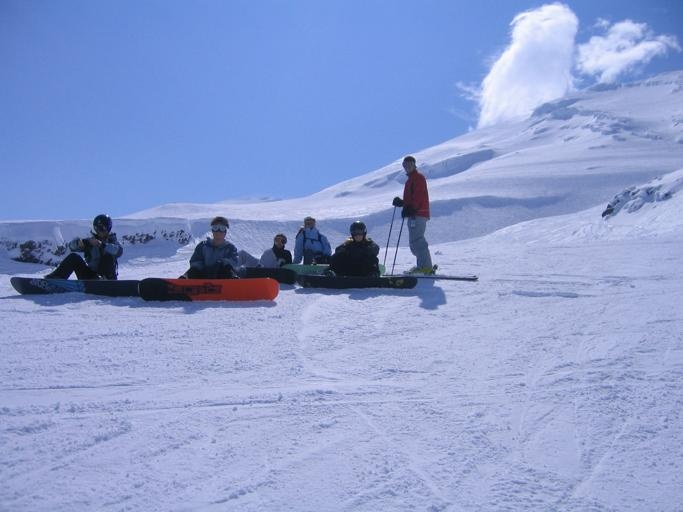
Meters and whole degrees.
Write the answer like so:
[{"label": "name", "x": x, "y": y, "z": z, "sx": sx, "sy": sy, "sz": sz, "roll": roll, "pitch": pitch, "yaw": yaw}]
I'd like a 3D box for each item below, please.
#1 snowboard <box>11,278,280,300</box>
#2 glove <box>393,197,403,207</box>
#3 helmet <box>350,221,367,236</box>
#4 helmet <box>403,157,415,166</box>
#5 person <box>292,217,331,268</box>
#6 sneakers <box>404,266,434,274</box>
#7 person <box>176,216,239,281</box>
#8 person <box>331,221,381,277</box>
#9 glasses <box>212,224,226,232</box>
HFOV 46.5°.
[{"label": "snowboard", "x": -2.523, "y": 0.410, "z": 10.385, "sx": 3.351, "sy": 0.311, "sz": 0.500, "roll": 2, "pitch": 10, "yaw": 6}, {"label": "glove", "x": 0.858, "y": -0.828, "z": 12.020, "sx": 0.169, "sy": 0.173, "sz": 0.169, "roll": -4, "pitch": -23, "yaw": 13}, {"label": "helmet", "x": 0.262, "y": -0.402, "z": 11.957, "sx": 0.231, "sy": 0.223, "sz": 0.253, "roll": 0, "pitch": -10, "yaw": 4}, {"label": "helmet", "x": 1.036, "y": -1.446, "z": 12.129, "sx": 0.155, "sy": 0.154, "sz": 0.162, "roll": -5, "pitch": 9, "yaw": 5}, {"label": "person", "x": -0.496, "y": -0.248, "z": 13.556, "sx": 0.633, "sy": 0.853, "sz": 0.828, "roll": 0, "pitch": 11, "yaw": -2}, {"label": "sneakers", "x": 1.204, "y": 0.235, "z": 12.218, "sx": 0.420, "sy": 0.135, "sz": 0.137, "roll": 1, "pitch": -2, "yaw": 30}, {"label": "person", "x": -1.745, "y": -0.003, "z": 11.108, "sx": 0.912, "sy": 1.059, "sz": 0.881, "roll": 2, "pitch": -11, "yaw": -7}, {"label": "person", "x": 0.172, "y": -0.014, "z": 11.936, "sx": 0.868, "sy": 0.858, "sz": 0.590, "roll": 2, "pitch": 3, "yaw": 18}, {"label": "glasses", "x": -1.657, "y": -0.377, "z": 10.801, "sx": 0.197, "sy": 0.116, "sz": 0.167, "roll": 0, "pitch": 10, "yaw": -7}]
